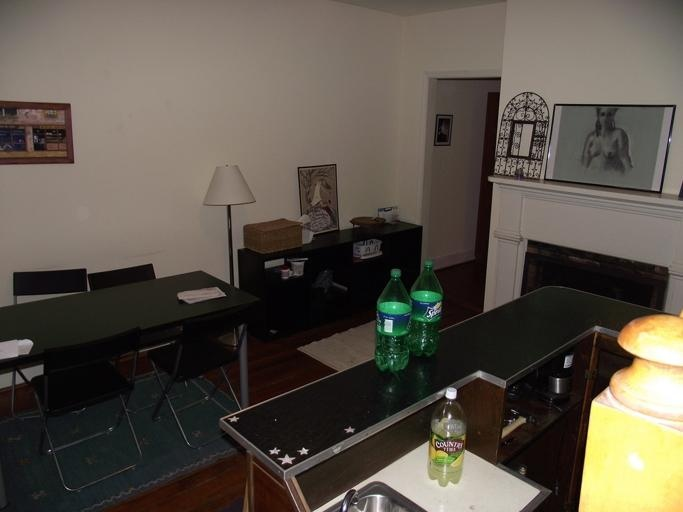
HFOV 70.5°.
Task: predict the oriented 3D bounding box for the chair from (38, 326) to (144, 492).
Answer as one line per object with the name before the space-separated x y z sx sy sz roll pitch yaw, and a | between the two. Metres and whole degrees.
chair | -1.677 0.918 3.187 0.615 0.979 0.851 -14 15 -36

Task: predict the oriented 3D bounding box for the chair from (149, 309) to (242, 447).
chair | -1.069 0.881 3.485 0.609 0.925 0.518 30 32 29

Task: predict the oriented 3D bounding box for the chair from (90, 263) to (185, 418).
chair | -1.764 0.449 3.973 0.610 1.078 0.737 -7 13 -36

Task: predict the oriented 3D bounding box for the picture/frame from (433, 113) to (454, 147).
picture/frame | 1.328 -1.689 6.435 0.033 0.444 0.419 17 28 37

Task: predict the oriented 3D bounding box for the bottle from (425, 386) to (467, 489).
bottle | 0.403 0.686 1.855 0.184 0.334 0.152 -7 12 -10

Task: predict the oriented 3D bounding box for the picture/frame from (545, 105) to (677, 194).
picture/frame | 2.406 -0.945 4.268 0.029 0.574 0.746 -11 22 -43

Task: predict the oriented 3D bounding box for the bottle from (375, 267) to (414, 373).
bottle | 0.211 0.253 2.027 0.162 0.401 0.280 -3 12 8

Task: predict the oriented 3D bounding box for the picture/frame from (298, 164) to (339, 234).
picture/frame | -0.287 -0.670 5.510 0.604 0.878 0.028 -22 28 -36

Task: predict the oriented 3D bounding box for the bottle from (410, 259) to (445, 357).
bottle | 0.364 0.219 2.112 0.143 0.396 0.260 -2 12 10
